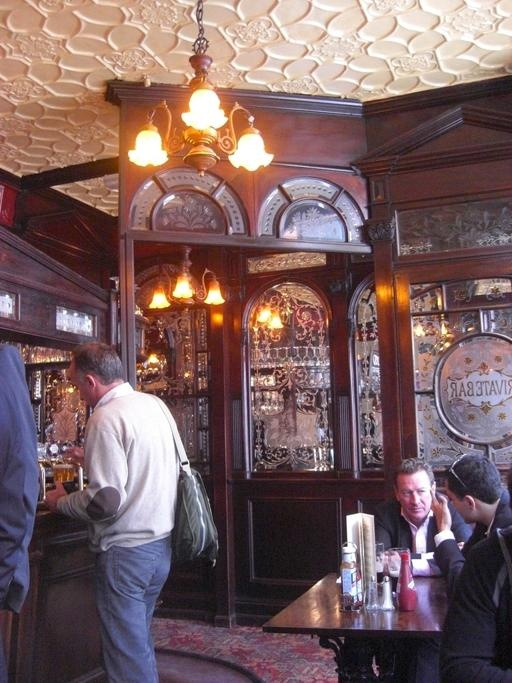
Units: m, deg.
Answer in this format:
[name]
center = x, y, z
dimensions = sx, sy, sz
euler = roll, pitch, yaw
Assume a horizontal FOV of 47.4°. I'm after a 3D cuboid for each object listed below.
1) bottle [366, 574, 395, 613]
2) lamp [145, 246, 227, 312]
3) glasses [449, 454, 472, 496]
[bottle]
center = 0.444, 0.912, 2.105
dimensions = 0.132, 0.124, 0.075
euler = 1, -19, -1
[lamp]
center = -0.680, -0.630, 5.666
dimensions = 0.750, 0.640, 0.969
euler = -1, -6, -10
[glasses]
center = 0.721, 0.470, 2.090
dimensions = 0.065, 0.115, 0.185
euler = -4, -6, 18
